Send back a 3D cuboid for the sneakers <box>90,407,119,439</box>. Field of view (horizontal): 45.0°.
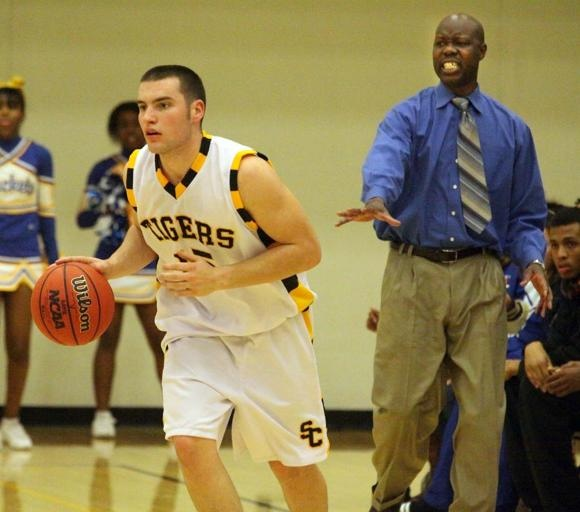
[{"bbox_3d":[-1.253,1.135,4.720,0.157,0.180,0.435,2,-10,-11],"label":"sneakers"}]

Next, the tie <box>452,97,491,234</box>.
[{"bbox_3d":[0.701,-0.355,2.710,0.166,0.524,0.071,6,-3,-8],"label":"tie"}]
